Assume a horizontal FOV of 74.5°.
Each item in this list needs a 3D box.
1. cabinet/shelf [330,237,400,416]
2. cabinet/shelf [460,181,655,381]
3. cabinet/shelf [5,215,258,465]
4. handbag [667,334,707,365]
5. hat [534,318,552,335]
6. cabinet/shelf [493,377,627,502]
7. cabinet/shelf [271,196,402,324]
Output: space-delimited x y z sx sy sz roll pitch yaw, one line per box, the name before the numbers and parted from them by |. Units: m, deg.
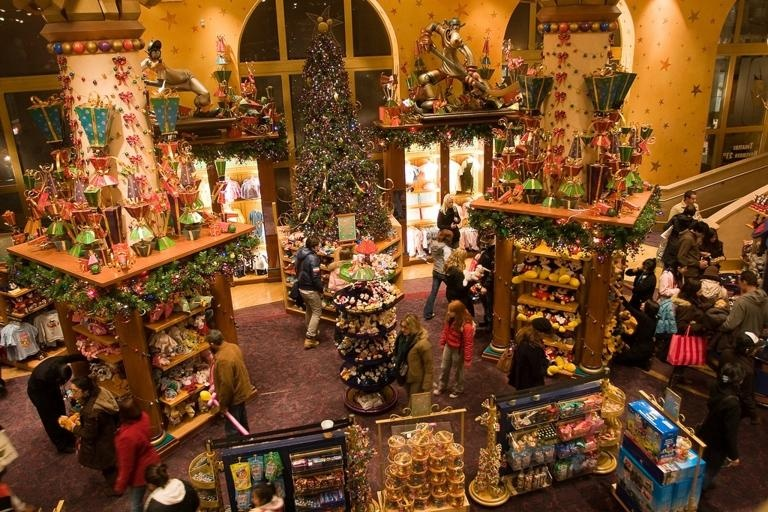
cabinet/shelf | -0.270 1.064 7.768 0.997 2.387 1.537 -2 20 -2
cabinet/shelf | 2.865 0.769 8.612 2.698 2.557 2.668 9 -6 12
cabinet/shelf | -3.906 0.305 7.808 2.930 2.860 2.992 22 32 40
handbag | 4.485 1.392 7.483 0.409 0.520 0.204 4 32 11
hat | 2.148 0.952 6.877 0.218 0.267 0.224 9 22 25
cabinet/shelf | 2.157 2.333 6.542 1.606 1.176 0.496 -5 10 -24
cabinet/shelf | -0.826 0.094 9.111 2.389 2.207 0.809 -4 21 -9
